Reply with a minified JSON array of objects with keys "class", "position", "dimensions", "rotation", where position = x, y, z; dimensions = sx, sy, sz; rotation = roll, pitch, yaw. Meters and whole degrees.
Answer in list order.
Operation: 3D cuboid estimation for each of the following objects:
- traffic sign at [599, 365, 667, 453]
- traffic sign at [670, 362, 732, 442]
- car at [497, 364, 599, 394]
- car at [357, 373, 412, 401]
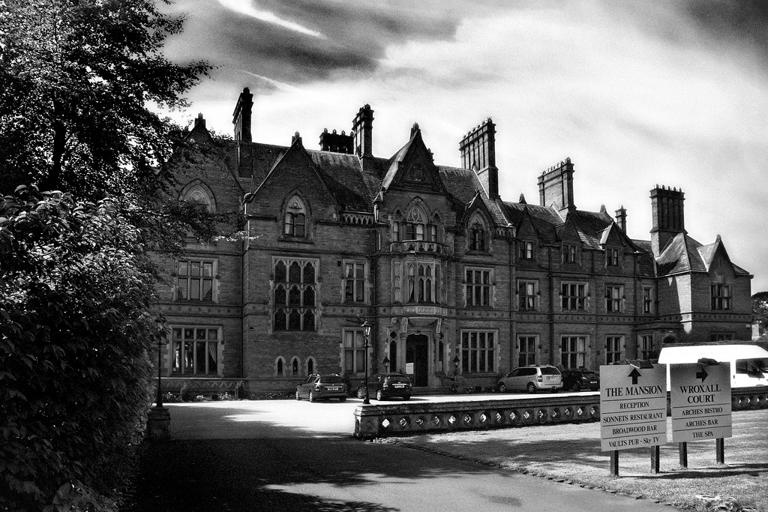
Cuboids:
[{"class":"traffic sign","position":[6.642,4.058,30.308],"dimensions":[2.400,2.228,0.766],"rotation":[3,-9,-24]},{"class":"traffic sign","position":[8.647,4.034,31.063],"dimensions":[2.261,2.279,0.097],"rotation":[4,-9,-24]},{"class":"car","position":[8.239,6.273,57.630],"dimensions":[4.449,1.400,3.414],"rotation":[0,-8,-3]},{"class":"car","position":[0.016,5.913,51.122],"dimensions":[1.153,0.775,2.371],"rotation":[4,-6,-24]}]
